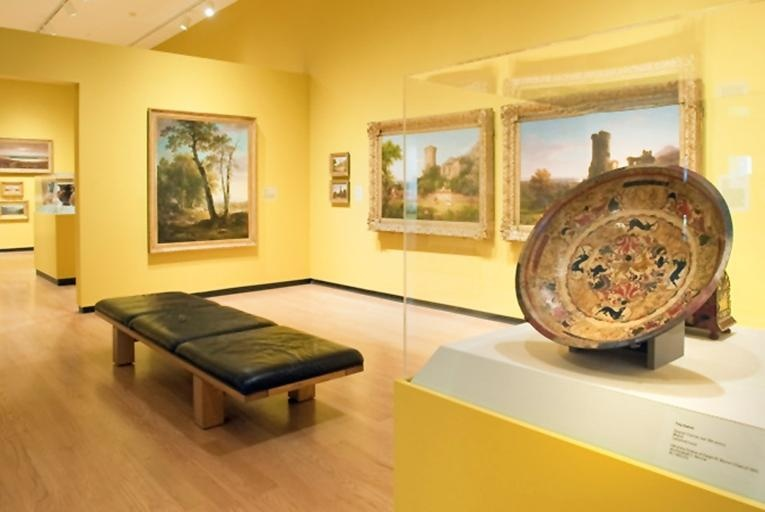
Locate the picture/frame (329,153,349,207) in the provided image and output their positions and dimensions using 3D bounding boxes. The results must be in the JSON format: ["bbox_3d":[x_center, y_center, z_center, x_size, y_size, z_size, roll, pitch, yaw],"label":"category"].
[{"bbox_3d":[-0.741,-1.283,8.695,0.467,0.893,0.067,7,10,40],"label":"picture/frame"}]
